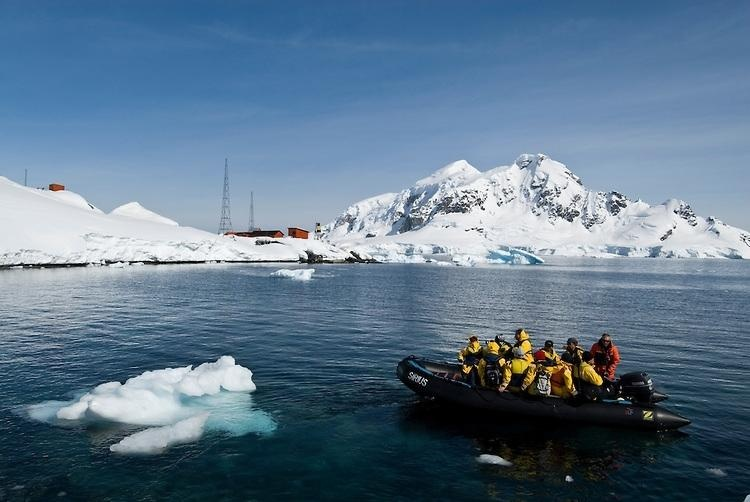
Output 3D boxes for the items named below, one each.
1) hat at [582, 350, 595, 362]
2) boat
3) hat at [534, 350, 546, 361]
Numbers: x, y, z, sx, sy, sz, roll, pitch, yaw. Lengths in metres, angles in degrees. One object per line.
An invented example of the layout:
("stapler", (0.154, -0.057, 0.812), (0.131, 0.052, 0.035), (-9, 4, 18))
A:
("hat", (10.520, 5.189, 29.633), (0.550, 0.389, 0.672), (12, 24, 34))
("boat", (8.242, 7.225, 30.626), (14.362, 3.105, 2.445), (0, -2, 7))
("hat", (8.376, 5.274, 30.232), (0.580, 0.421, 0.586), (7, 21, 8))
